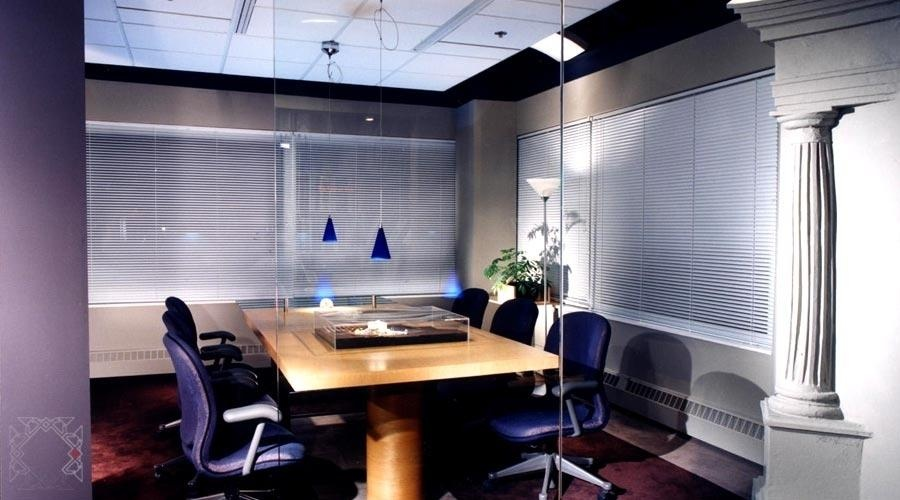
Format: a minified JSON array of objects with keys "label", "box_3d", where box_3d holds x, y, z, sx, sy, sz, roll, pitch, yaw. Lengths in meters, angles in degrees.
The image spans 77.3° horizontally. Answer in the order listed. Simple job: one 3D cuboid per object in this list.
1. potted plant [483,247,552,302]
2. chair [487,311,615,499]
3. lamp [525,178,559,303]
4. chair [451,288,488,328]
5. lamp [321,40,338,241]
[{"label":"potted plant","box_3d":[0.283,0.108,2.421,0.253,0.157,0.243,1,-4,-36]},{"label":"chair","box_3d":[0.471,0.701,2.583,0.565,0.905,0.348,0,4,16]},{"label":"lamp","box_3d":[0.400,-0.043,2.402,0.136,0.530,0.063,0,4,7]},{"label":"chair","box_3d":[0.084,0.259,2.526,0.142,0.189,0.189,-2,4,-19]},{"label":"lamp","box_3d":[-0.549,-0.504,2.630,0.060,0.923,0.089,3,6,45]}]
